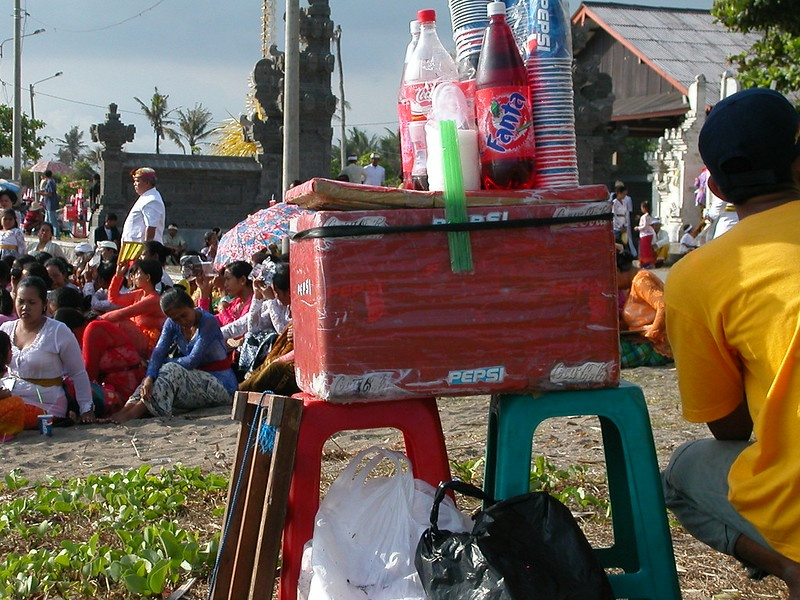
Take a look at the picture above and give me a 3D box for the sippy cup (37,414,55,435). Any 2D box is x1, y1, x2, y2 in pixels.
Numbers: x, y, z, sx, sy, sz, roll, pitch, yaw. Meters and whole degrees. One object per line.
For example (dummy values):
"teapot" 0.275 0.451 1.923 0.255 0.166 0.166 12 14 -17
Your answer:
"sippy cup" -2.436 0.867 6.399 0.114 0.134 0.116 0 -4 0

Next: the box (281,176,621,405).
"box" 0.255 -0.017 3.317 1.193 0.883 0.752 -2 -4 -4

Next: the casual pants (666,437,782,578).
"casual pants" 1.110 0.713 3.366 0.152 0.443 0.370 -22 -15 4

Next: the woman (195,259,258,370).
"woman" -1.460 0.135 7.903 0.433 0.359 0.777 19 20 -9

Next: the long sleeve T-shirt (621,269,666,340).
"long sleeve T-shirt" 2.049 0.067 7.810 0.341 0.598 0.592 1 0 11

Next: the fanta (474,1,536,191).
"fanta" 0.381 -0.746 3.400 0.171 0.681 0.129 1 7 34

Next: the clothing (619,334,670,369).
"clothing" 2.044 0.427 7.787 0.374 0.140 0.395 -3 -1 8

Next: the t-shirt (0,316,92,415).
"t-shirt" -2.552 0.497 6.651 0.593 0.538 0.261 7 3 8

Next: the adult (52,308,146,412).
"adult" -2.316 0.489 7.116 0.563 0.804 0.454 -30 0 11

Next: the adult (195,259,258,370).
"adult" -1.460 0.135 7.903 0.433 0.359 0.777 19 20 -9

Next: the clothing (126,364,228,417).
"clothing" -1.611 0.649 6.981 0.585 0.265 0.363 -4 -9 -22

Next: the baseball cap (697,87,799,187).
"baseball cap" 1.180 -0.527 3.188 0.358 0.287 0.248 -42 22 -27

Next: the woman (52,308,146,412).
"woman" -2.316 0.489 7.116 0.563 0.804 0.454 -30 0 11

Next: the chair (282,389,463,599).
"chair" -0.153 0.705 3.845 0.662 0.787 0.711 -2 8 -10
